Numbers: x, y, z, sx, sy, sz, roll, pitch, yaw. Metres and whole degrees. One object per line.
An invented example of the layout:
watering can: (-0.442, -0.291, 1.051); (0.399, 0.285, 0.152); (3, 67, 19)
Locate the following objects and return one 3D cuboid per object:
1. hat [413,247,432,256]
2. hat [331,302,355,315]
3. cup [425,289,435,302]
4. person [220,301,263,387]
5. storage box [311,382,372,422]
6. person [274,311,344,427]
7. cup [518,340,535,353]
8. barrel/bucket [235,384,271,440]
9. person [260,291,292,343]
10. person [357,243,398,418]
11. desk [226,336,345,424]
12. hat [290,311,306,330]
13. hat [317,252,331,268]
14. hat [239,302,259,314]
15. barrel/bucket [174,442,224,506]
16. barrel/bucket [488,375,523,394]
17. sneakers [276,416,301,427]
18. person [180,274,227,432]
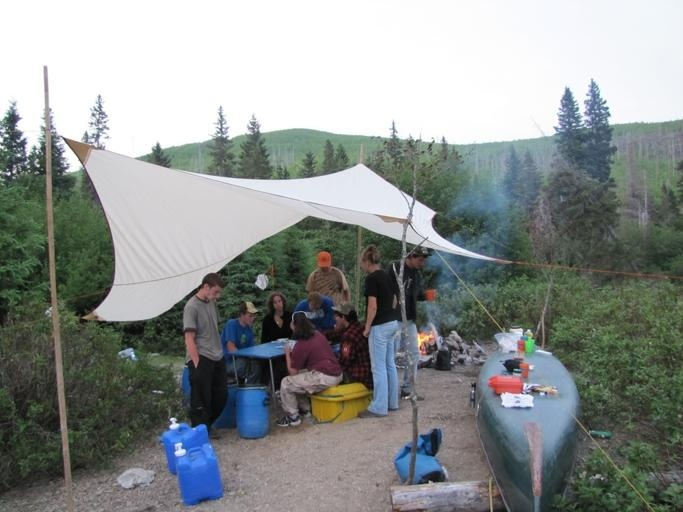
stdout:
hat: (1.329, -0.079, 9.557); (0.252, 0.171, 0.203); (-7, 0, 15)
hat: (0.045, 0.785, 8.690); (0.211, 0.119, 0.164); (5, 1, 4)
cup: (1.489, 0.619, 9.670); (0.187, 0.216, 0.209); (-3, -31, 14)
person: (-1.487, 1.516, 8.944); (0.679, 1.603, 0.604); (0, 1, 30)
storage box: (0.042, 2.126, 8.472); (0.469, 0.415, 0.679); (-5, -8, 39)
person: (-0.471, 1.590, 8.428); (0.906, 1.619, 0.577); (-2, 10, -1)
cup: (2.611, 1.249, 8.189); (0.173, 0.188, 0.183); (0, 1, 0)
barrel/bucket: (-1.192, 2.111, 8.016); (0.607, 0.853, 0.574); (-1, -6, 0)
person: (-1.002, 1.088, 9.658); (0.534, 0.968, 0.573); (-7, -7, 3)
person: (0.573, 1.087, 8.406); (0.501, 2.451, 0.575); (-1, 10, 5)
desk: (-0.749, 1.669, 8.329); (1.273, 1.332, 1.277); (1, -5, 22)
hat: (-0.543, 0.948, 8.364); (0.309, 0.267, 0.546); (3, -5, 2)
hat: (-0.285, 0.050, 10.101); (0.188, 0.293, 0.409); (-1, 10, 6)
hat: (-1.384, 0.778, 8.663); (0.230, 0.154, 0.174); (0, 0, 24)
barrel/bucket: (-1.600, 2.444, 6.614); (0.494, 0.661, 0.300); (-4, 10, -14)
barrel/bucket: (1.976, 1.520, 6.947); (0.329, 0.164, 0.202); (2, 21, 12)
sneakers: (-0.744, 2.376, 8.311); (0.333, 0.180, 0.141); (2, -7, 1)
person: (-1.810, 1.334, 7.654); (0.451, 2.195, 0.754); (3, 11, 25)
